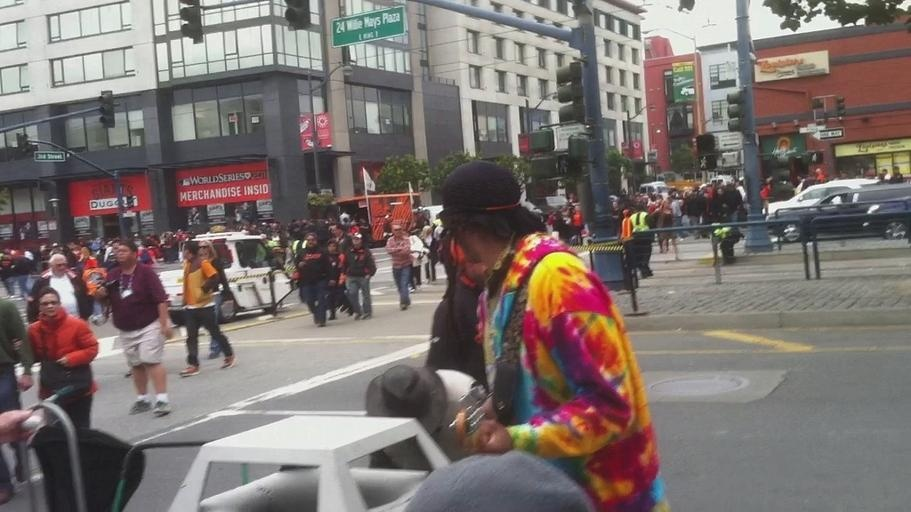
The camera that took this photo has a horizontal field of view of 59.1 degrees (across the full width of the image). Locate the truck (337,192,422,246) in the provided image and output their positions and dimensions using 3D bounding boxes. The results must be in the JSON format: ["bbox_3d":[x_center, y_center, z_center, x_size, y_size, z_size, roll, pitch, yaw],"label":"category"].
[{"bbox_3d":[-3.839,-1.824,39.626,2.873,3.470,7.913,0,1,23],"label":"truck"}]

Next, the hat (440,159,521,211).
[{"bbox_3d":[0.314,-0.649,7.796,0.983,0.464,0.751,3,19,14],"label":"hat"}]

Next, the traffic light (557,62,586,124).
[{"bbox_3d":[2.689,-3.839,19.002,0.618,1.490,0.637,-6,11,7],"label":"traffic light"}]

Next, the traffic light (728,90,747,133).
[{"bbox_3d":[8.627,-4.490,24.820,0.567,1.290,0.376,-5,15,5],"label":"traffic light"}]

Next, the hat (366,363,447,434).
[{"bbox_3d":[-0.432,1.355,7.676,0.628,0.702,0.249,-50,-11,-1],"label":"hat"}]

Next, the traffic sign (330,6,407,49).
[{"bbox_3d":[-2.579,-6.751,23.556,2.184,0.855,1.185,-6,11,5],"label":"traffic sign"}]

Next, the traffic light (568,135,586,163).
[{"bbox_3d":[2.727,-2.438,18.270,0.321,0.547,0.576,2,14,39],"label":"traffic light"}]

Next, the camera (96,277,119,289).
[{"bbox_3d":[-6.172,0.492,14.528,0.370,0.237,0.469,-1,0,8],"label":"camera"}]

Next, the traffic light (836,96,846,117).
[{"bbox_3d":[15.182,-5.874,31.880,0.262,0.731,1.004,-3,12,20],"label":"traffic light"}]

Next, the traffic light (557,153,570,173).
[{"bbox_3d":[2.399,-2.072,18.037,0.102,0.378,0.423,5,6,34],"label":"traffic light"}]

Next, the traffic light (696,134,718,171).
[{"bbox_3d":[7.104,-2.937,23.185,0.676,1.062,0.563,-5,2,3],"label":"traffic light"}]
